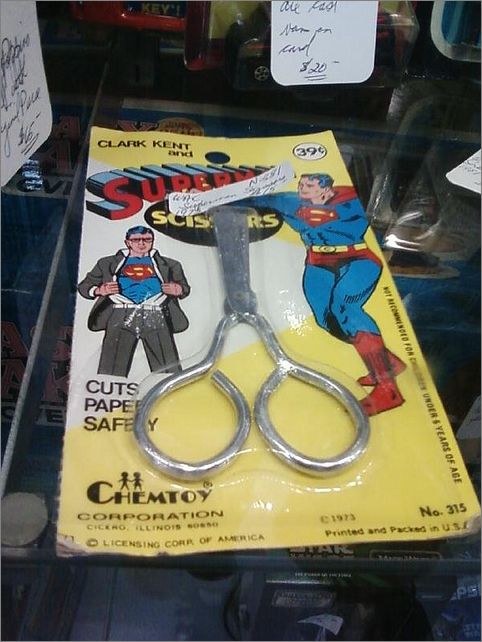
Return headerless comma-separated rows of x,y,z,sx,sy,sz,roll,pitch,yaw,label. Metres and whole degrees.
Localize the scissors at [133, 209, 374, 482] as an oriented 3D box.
0.001,-0.005,0.483,0.178,0.294,0.020,-33,66,-22,scissors
